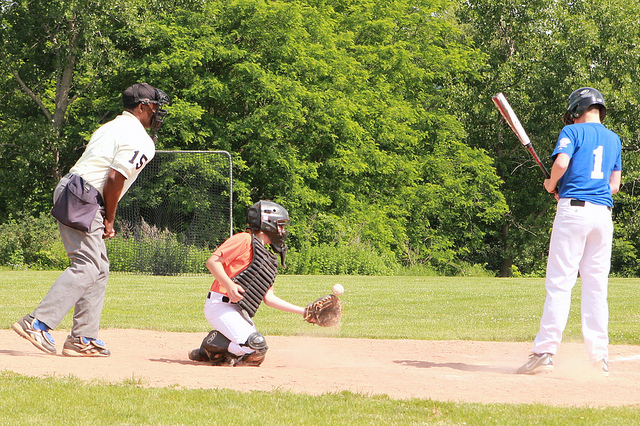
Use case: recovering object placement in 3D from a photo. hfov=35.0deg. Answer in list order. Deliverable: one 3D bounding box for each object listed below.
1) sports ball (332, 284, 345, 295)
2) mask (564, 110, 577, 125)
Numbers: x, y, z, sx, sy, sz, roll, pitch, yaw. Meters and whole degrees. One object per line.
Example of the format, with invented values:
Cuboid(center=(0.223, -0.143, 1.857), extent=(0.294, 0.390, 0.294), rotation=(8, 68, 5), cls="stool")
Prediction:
Cuboid(center=(0.417, 1.802, 24.352), extent=(0.255, 0.225, 0.243), rotation=(17, -24, 8), cls="sports ball")
Cuboid(center=(6.039, -2.300, 24.612), extent=(0.314, 0.283, 0.232), rotation=(-18, 44, -40), cls="mask")
